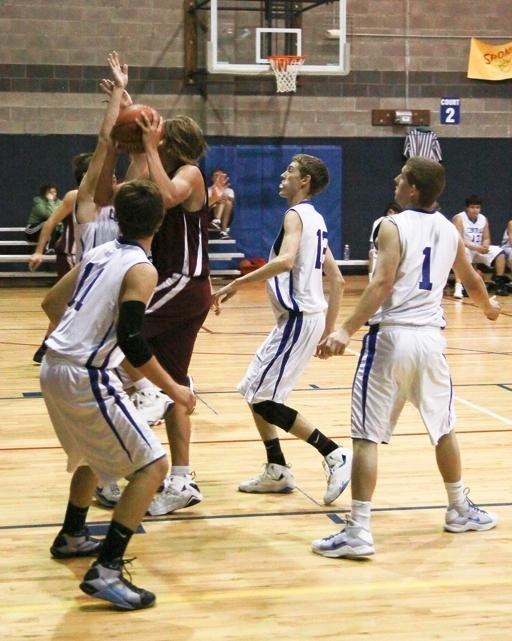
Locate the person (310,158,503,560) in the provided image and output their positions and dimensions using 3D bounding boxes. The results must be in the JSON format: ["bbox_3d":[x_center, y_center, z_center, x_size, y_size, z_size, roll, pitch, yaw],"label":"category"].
[{"bbox_3d":[0.539,0.114,2.919,0.688,1.364,0.403,-3,10,-43],"label":"person"}]

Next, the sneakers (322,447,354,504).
[{"bbox_3d":[0.327,0.614,3.366,0.120,0.240,0.084,20,-26,-1],"label":"sneakers"}]

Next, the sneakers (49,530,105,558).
[{"bbox_3d":[-0.589,0.746,2.810,0.212,0.084,0.073,-1,8,-21],"label":"sneakers"}]

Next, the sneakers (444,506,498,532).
[{"bbox_3d":[0.773,0.737,3.098,0.205,0.101,0.081,-1,-1,-8],"label":"sneakers"}]

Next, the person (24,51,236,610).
[{"bbox_3d":[-0.452,0.192,2.645,0.438,1.247,0.817,2,7,-14],"label":"person"}]

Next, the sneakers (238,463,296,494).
[{"bbox_3d":[0.064,0.681,3.568,0.302,0.149,0.094,1,2,4],"label":"sneakers"}]

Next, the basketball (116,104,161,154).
[{"bbox_3d":[-0.426,-0.683,3.017,0.180,0.193,0.167,4,3,3],"label":"basketball"}]

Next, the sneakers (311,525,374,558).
[{"bbox_3d":[0.297,0.754,2.829,0.239,0.114,0.087,-1,-8,19],"label":"sneakers"}]
